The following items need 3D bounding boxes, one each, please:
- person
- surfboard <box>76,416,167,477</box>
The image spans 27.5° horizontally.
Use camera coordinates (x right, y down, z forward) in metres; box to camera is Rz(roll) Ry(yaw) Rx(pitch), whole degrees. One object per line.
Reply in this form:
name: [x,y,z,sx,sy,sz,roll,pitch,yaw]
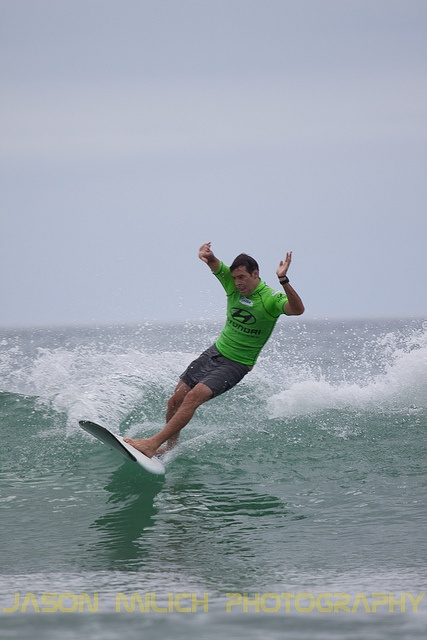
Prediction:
person: [0.066,0.258,7.168,1.263,1.750,0.932,0,7,0]
surfboard: [-0.792,1.077,7.396,0.959,0.096,0.244,23,-8,34]
